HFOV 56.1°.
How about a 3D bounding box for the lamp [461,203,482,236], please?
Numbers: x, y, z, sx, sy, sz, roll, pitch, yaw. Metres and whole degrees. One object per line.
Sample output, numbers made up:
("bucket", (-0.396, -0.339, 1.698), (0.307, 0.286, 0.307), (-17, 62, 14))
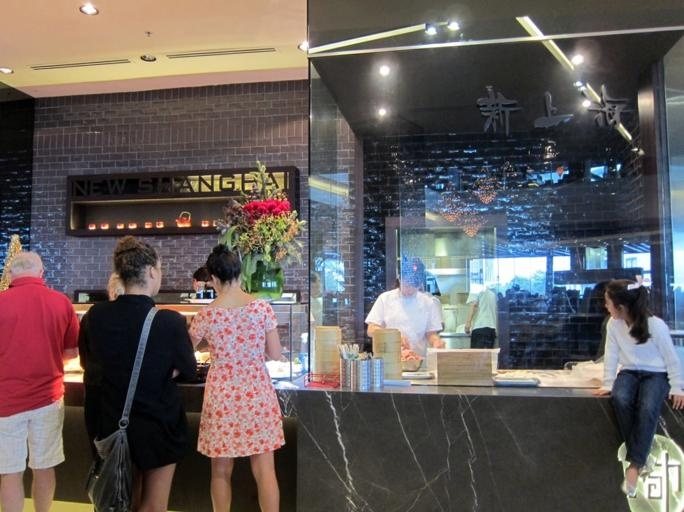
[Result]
("lamp", (0.878, -0.231, 4.351), (0.140, 0.191, 0.097), (-5, -2, 22))

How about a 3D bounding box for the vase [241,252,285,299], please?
("vase", (-0.534, 0.133, 4.516), (0.284, 0.318, 0.293), (8, 10, 40))

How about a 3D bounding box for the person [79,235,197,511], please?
("person", (-1.212, 0.704, 3.802), (0.672, 1.648, 0.302), (-2, 0, -14))

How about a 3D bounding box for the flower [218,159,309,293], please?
("flower", (-0.576, -0.185, 4.635), (0.588, 0.933, 0.653), (-5, 4, 4))

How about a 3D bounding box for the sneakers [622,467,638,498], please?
("sneakers", (1.750, 1.374, 3.908), (0.070, 0.224, 0.079), (3, 7, 19))

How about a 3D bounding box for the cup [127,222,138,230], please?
("cup", (-2.719, -0.382, 8.312), (0.157, 0.088, 0.145), (-1, 15, 0))

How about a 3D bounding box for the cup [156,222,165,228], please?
("cup", (-2.340, -0.391, 8.236), (0.089, 0.093, 0.092), (1, 5, 0))

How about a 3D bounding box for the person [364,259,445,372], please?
("person", (0.438, 0.483, 4.451), (0.525, 0.862, 0.488), (2, 2, -5))

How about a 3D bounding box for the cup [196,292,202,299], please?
("cup", (-1.658, 0.461, 7.421), (0.059, 0.111, 0.061), (-3, -23, -1))

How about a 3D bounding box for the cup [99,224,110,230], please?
("cup", (-3.109, -0.375, 8.367), (0.099, 0.076, 0.103), (-2, -3, 0))

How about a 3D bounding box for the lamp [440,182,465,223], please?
("lamp", (0.740, -0.328, 4.450), (0.110, 0.183, 0.109), (-14, -13, 28))

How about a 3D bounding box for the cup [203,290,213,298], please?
("cup", (-1.526, 0.450, 7.348), (0.110, 0.113, 0.084), (-2, -8, 14))

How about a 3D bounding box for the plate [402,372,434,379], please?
("plate", (0.515, 0.813, 4.370), (0.220, 0.048, 0.098), (-2, 1, 14))

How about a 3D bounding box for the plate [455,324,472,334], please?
("plate", (0.811, 0.501, 4.350), (0.066, 0.081, 0.060), (6, -3, 11))

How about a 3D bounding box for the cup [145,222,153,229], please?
("cup", (-2.506, -0.381, 8.258), (0.110, 0.087, 0.109), (4, -3, 0))
